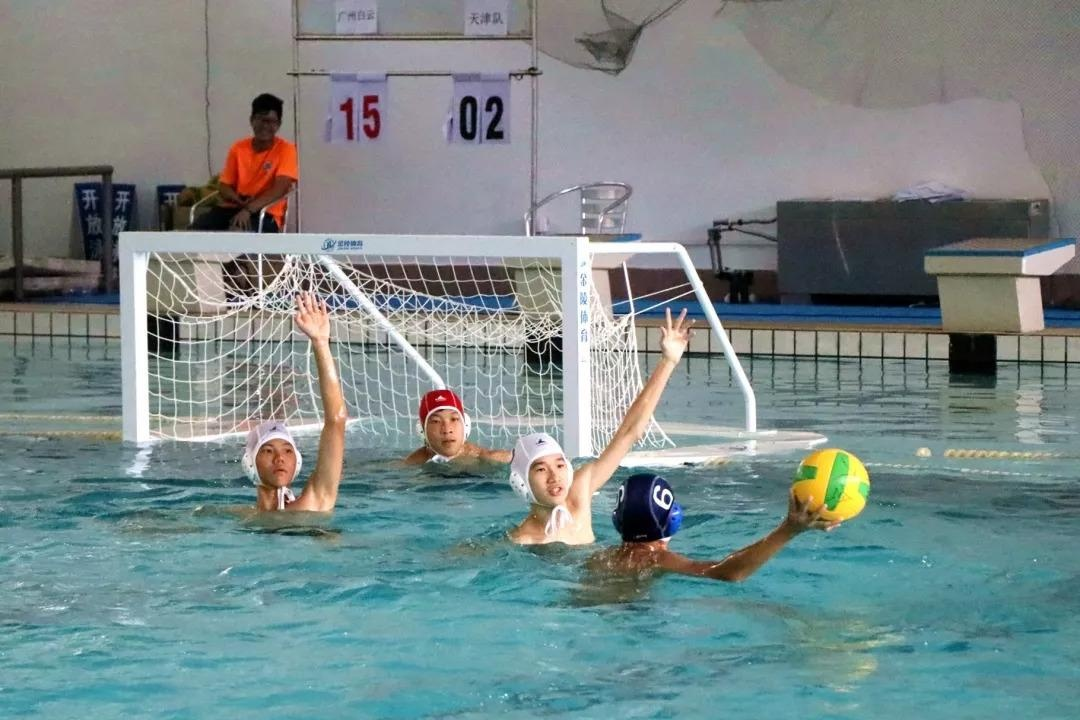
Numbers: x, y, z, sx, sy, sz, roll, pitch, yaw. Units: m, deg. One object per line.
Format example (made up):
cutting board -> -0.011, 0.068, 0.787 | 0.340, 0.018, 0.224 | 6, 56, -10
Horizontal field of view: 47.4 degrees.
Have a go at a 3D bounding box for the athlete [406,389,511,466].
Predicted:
athlete -> -0.449, 0.373, 6.579 | 0.575, 0.480, 0.534 | -1, 13, -3

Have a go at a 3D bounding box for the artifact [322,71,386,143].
artifact -> -1.706, -2.360, 11.473 | 0.601, 0.603, 0.221 | 1, 15, 5

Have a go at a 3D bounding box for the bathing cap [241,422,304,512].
bathing cap -> -1.202, 0.510, 5.625 | 0.282, 0.406, 0.242 | -3, -11, -4

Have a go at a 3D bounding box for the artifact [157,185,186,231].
artifact -> -4.311, -1.771, 14.422 | 0.354, 0.533, 1.166 | -4, 13, -17

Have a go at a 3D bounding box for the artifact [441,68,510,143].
artifact -> -0.562, -2.269, 11.027 | 0.586, 0.597, 0.270 | 1, 15, 2

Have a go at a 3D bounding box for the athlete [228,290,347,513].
athlete -> -1.056, 0.210, 5.521 | 0.402, 1.110, 0.645 | -12, 19, -39

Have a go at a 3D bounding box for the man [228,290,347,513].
man -> -1.056, 0.210, 5.521 | 0.402, 1.110, 0.645 | -12, 19, -39

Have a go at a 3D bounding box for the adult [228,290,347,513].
adult -> -1.058, 0.210, 5.520 | 0.399, 1.110, 0.645 | -12, 19, -39

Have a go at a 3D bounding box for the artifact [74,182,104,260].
artifact -> -5.219, -1.618, 14.310 | 0.291, 0.858, 0.600 | -5, 15, -19

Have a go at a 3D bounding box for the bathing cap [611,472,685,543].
bathing cap -> 0.427, 0.573, 4.897 | 0.307, 0.232, 0.298 | 0, -5, -32

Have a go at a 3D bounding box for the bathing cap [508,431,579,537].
bathing cap -> 0.012, 0.531, 5.103 | 0.250, 0.451, 0.176 | 0, 15, 0
